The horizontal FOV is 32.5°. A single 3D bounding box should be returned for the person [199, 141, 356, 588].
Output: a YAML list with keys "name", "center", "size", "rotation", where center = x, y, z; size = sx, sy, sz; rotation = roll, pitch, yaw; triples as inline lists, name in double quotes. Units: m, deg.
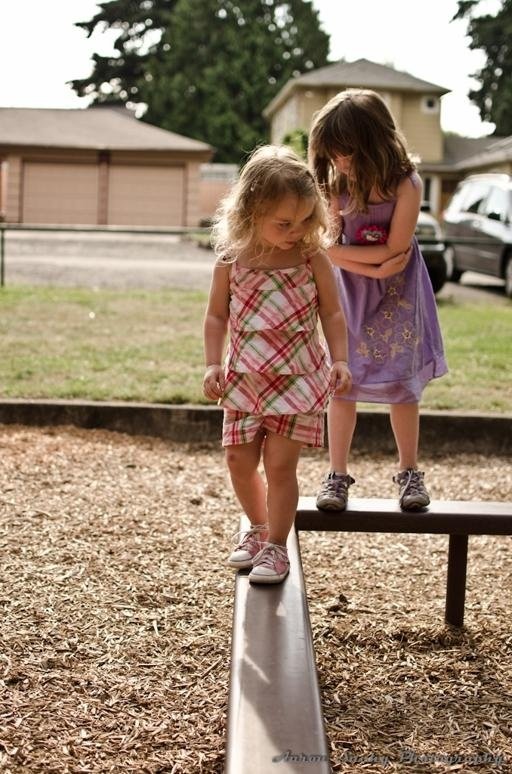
- name: "person"
  center: [0.056, -0.086, 2.228]
  size: [0.372, 1.028, 0.393]
  rotation: [4, 13, -4]
